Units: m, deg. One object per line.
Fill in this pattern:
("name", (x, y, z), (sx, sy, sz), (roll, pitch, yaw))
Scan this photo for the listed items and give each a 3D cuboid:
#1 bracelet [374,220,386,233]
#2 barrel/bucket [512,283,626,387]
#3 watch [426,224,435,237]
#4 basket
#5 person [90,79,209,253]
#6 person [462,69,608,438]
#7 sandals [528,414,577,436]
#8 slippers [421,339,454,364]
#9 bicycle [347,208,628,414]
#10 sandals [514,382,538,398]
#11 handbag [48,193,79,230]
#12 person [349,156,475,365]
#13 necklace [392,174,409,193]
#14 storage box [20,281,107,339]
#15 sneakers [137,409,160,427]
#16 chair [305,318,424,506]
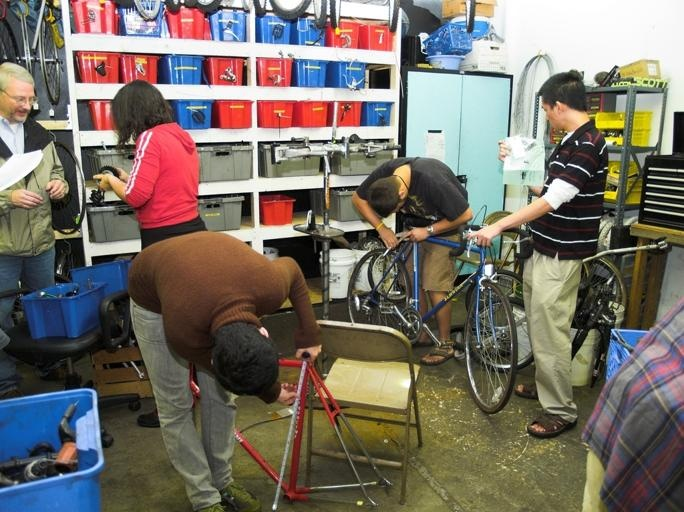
("bracelet", (0.306, -0.234, 4.237), (0.077, 0.025, 0.082), (-26, 4, 20))
("barrel/bucket", (1.653, 0.539, 3.844), (0.756, 0.612, 0.684), (-1, 3, -24))
("watch", (0.662, -0.185, 3.940), (0.050, 0.085, 0.078), (-21, 2, 7))
("basket", (1.220, -2.068, 5.321), (0.762, 0.453, 0.511), (24, 39, 36))
("person", (-1.042, -0.515, 3.024), (0.442, 0.927, 0.257), (-8, 15, -24))
("person", (1.280, 0.001, 3.286), (0.541, 2.182, 0.535), (8, 17, 35))
("sandals", (1.301, 1.065, 3.295), (0.302, 0.130, 0.130), (-3, 7, -14))
("slippers", (0.760, 0.753, 4.173), (0.280, 0.128, 0.132), (-4, 5, -43))
("bicycle", (1.024, 0.282, 4.293), (1.074, 1.456, 2.138), (-3, 9, -39))
("sandals", (1.305, 0.947, 3.741), (0.155, 0.067, 0.083), (8, 12, 32))
("handbag", (-2.125, -0.328, 4.015), (0.263, 0.273, 0.064), (-11, -18, 27))
("person", (0.605, 0.004, 4.238), (1.016, 1.632, 0.815), (-22, 26, -35))
("necklace", (0.426, -0.510, 3.814), (0.097, 0.127, 0.119), (0, 57, 10))
("storage box", (-1.650, 0.327, 3.155), (0.312, 0.251, 0.420), (1, 5, 13))
("sneakers", (-1.258, 1.067, 3.443), (0.203, 0.084, 0.119), (10, -3, -42))
("chair", (0.114, 0.900, 2.910), (0.608, 1.165, 0.667), (4, 43, 10))
